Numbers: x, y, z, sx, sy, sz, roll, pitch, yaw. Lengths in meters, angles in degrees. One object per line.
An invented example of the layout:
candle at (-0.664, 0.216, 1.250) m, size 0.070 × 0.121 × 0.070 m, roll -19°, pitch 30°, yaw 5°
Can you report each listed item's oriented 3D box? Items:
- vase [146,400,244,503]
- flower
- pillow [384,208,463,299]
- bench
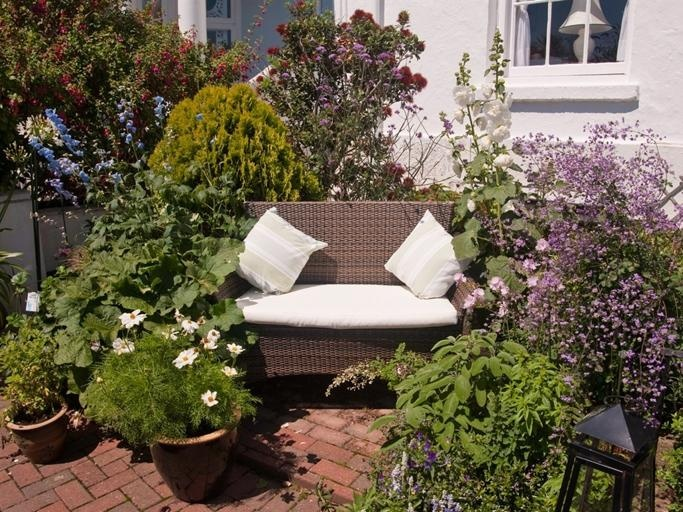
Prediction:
vase at (-0.842, 1.132, 3.130) m, size 0.480 × 0.366 × 0.482 m, roll 1°, pitch 12°, yaw -5°
flower at (-1.012, 0.701, 3.191) m, size 0.886 × 0.558 × 0.913 m, roll 4°, pitch 24°, yaw 2°
pillow at (0.535, 0.060, 4.224) m, size 0.591 × 0.143 × 0.587 m, roll -34°, pitch 13°, yaw 25°
bench at (0.096, 0.297, 4.140) m, size 1.701 × 1.136 × 0.970 m, roll 1°, pitch 13°, yaw 13°
